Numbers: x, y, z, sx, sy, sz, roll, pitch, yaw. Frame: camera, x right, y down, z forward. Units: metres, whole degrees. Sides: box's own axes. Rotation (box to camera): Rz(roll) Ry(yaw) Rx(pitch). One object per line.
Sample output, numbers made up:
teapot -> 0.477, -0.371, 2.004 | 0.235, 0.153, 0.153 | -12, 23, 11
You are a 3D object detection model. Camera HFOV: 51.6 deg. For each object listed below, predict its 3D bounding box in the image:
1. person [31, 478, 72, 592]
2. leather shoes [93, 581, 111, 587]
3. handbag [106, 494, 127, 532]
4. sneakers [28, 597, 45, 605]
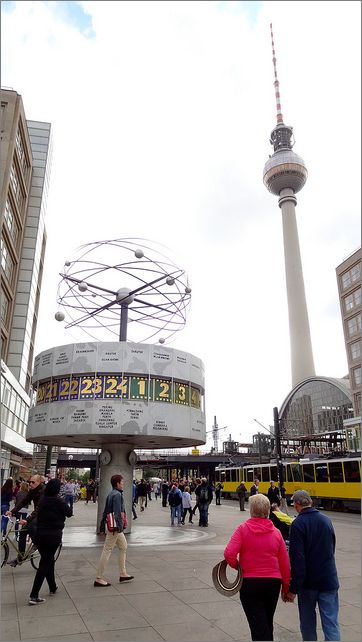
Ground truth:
person -> -1.887, 3.317, 5.464 | 0.512, 1.726, 0.844 | 3, -1, -16
leather shoes -> -1.281, 4.382, 6.171 | 0.286, 0.120, 0.099 | 2, -10, -2
handbag -> -1.135, 3.401, 6.532 | 0.345, 0.544, 0.447 | 3, -1, -10
sneakers -> -1.993, 3.886, 5.181 | 0.211, 0.101, 0.085 | 4, -6, -19
